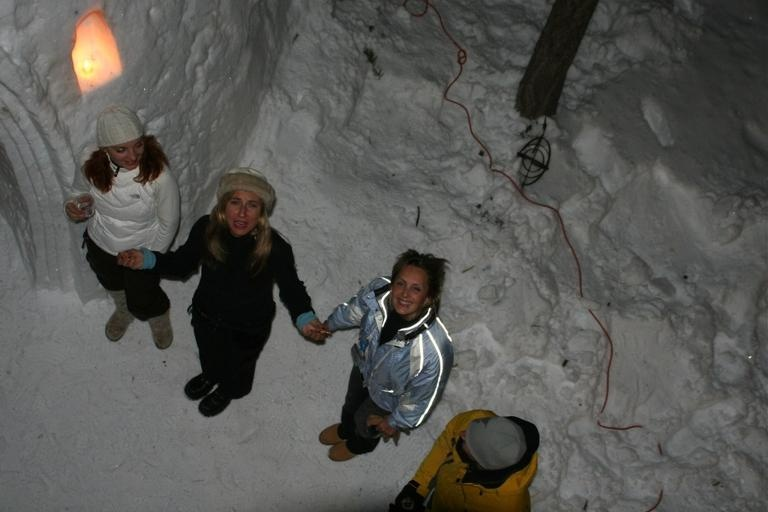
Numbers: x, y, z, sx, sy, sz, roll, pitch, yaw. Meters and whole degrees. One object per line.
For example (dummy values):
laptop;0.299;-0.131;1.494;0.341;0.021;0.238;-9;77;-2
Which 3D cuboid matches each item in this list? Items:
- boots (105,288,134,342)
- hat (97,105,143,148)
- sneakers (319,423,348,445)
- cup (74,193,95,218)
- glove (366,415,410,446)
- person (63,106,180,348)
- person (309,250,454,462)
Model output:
boots;-2.845;0.638;7.035;0.238;0.533;0.498;6;-16;-18
hat;-2.503;-1.230;6.120;0.433;0.360;0.588;-23;23;-23
sneakers;-0.486;1.905;7.040;0.392;0.161;0.157;-17;3;-15
cup;-2.906;-0.474;6.366;0.156;0.185;0.206;-9;43;-27
glove;0.059;1.678;6.312;0.369;0.179;0.372;18;6;-18
person;-2.642;-0.164;6.532;1.087;2.579;1.003;16;33;8
person;0.034;1.058;6.236;1.136;2.338;0.440;29;24;36
